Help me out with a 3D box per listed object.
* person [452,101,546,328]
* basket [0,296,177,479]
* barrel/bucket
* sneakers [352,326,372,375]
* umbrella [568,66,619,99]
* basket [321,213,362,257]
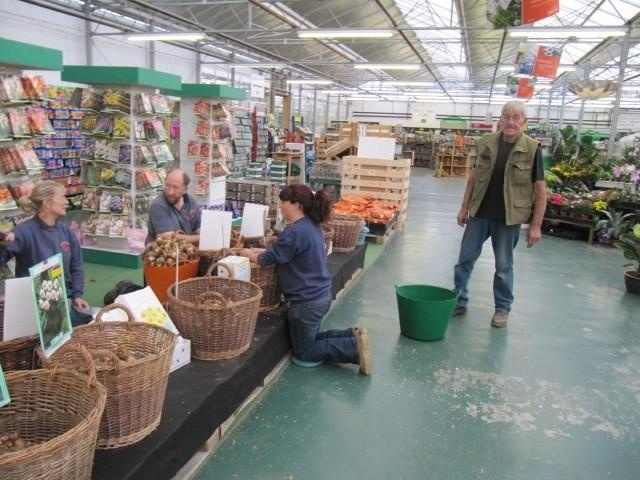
[{"bbox_3d":[1.671,-0.171,4.107,0.742,2.022,0.409,7,18,22],"label":"person"},{"bbox_3d":[-0.961,0.669,2.028,0.667,0.452,0.655,2,2,9],"label":"basket"},{"bbox_3d":[0.906,0.642,3.932,0.606,0.333,0.545,3,6,30],"label":"barrel/bucket"},{"bbox_3d":[0.362,0.847,3.300,0.182,0.319,0.125,-12,5,15],"label":"sneakers"},{"bbox_3d":[6.242,-3.491,9.921,0.995,0.451,0.678,10,17,35],"label":"umbrella"},{"bbox_3d":[0.265,-0.069,4.973,0.540,0.308,0.491,10,16,20],"label":"basket"}]
